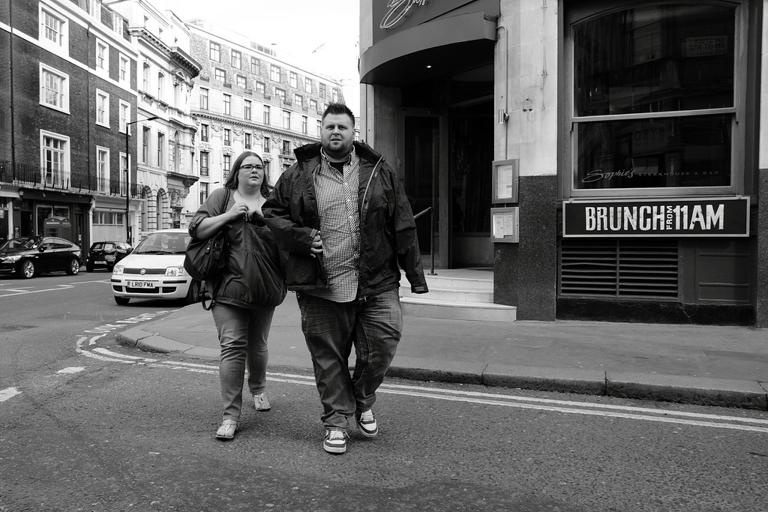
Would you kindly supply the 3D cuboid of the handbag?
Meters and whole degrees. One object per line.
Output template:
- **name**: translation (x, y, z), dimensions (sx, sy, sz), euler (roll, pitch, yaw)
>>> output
- **handbag**: translation (-1.815, -0.006, 6.326), dimensions (0.418, 0.591, 0.222), euler (3, 9, 16)

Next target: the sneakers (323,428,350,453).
- **sneakers**: translation (-0.441, 1.724, 5.969), dimensions (0.272, 0.210, 0.256), euler (-3, 9, -16)

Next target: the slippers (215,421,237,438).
- **slippers**: translation (-1.528, 1.693, 6.122), dimensions (0.111, 0.091, 0.227), euler (0, -8, -5)

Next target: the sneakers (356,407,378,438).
- **sneakers**: translation (-0.174, 1.645, 6.220), dimensions (0.125, 0.150, 0.372), euler (-2, 5, -26)

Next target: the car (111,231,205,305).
- **car**: translation (-5.486, 0.366, 16.409), dimensions (2.114, 1.910, 3.728), euler (-1, -4, 3)

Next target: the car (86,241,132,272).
- **car**: translation (-12.526, 0.059, 28.532), dimensions (1.271, 1.085, 2.199), euler (-2, 6, 5)

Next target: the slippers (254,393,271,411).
- **slippers**: translation (-1.329, 1.587, 6.843), dimensions (0.123, 0.093, 0.227), euler (-3, 0, -19)
